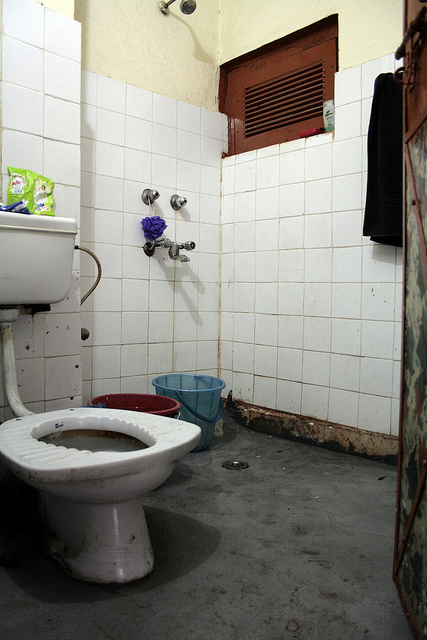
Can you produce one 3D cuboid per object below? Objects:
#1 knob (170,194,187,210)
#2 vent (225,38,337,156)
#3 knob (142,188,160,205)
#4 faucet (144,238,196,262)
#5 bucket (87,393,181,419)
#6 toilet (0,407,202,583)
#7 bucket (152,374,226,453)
[{"bbox_3d":[-0.178,-0.601,2.627,0.064,0.075,0.071,-3,20,-30],"label":"knob"},{"bbox_3d":[0.362,-1.158,2.647,0.053,0.514,0.751,-5,7,-37],"label":"vent"},{"bbox_3d":[-0.300,-0.591,2.527,0.050,0.111,0.101,7,11,40],"label":"knob"},{"bbox_3d":[-0.226,-0.350,2.570,0.240,0.111,0.165,1,3,-4],"label":"faucet"},{"bbox_3d":[-0.305,0.340,2.108,0.170,0.071,0.179,4,-2,0],"label":"bucket"},{"bbox_3d":[-0.287,0.394,1.239,0.364,0.330,0.434,2,-1,-44],"label":"toilet"},{"bbox_3d":[-0.120,0.396,2.296,0.295,0.290,0.314,4,-3,0],"label":"bucket"}]
